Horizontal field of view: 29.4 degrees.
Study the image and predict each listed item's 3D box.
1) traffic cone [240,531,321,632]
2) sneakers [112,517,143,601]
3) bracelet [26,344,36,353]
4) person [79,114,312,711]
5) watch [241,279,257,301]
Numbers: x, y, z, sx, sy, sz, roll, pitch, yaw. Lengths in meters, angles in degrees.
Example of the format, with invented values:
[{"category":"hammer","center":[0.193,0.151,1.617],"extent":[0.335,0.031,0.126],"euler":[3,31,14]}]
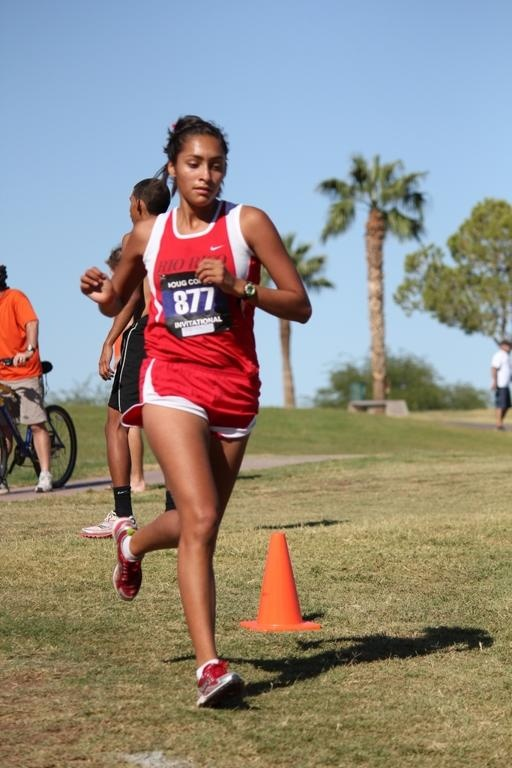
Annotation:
[{"category":"traffic cone","center":[0.085,0.719,3.579],"extent":[0.354,0.369,0.359],"euler":[-9,-11,44]},{"category":"sneakers","center":[-0.425,0.622,3.509],"extent":[0.110,0.314,0.140],"euler":[-5,-5,-23]},{"category":"bracelet","center":[-1.966,-0.309,8.521],"extent":[0.059,0.071,0.144],"euler":[-2,1,-8]},{"category":"person","center":[-0.200,0.015,2.937],"extent":[0.654,1.434,0.690],"euler":[-2,1,12]},{"category":"watch","center":[-0.019,-0.276,2.862],"extent":[0.040,0.049,0.028],"euler":[0,-14,-9]}]
